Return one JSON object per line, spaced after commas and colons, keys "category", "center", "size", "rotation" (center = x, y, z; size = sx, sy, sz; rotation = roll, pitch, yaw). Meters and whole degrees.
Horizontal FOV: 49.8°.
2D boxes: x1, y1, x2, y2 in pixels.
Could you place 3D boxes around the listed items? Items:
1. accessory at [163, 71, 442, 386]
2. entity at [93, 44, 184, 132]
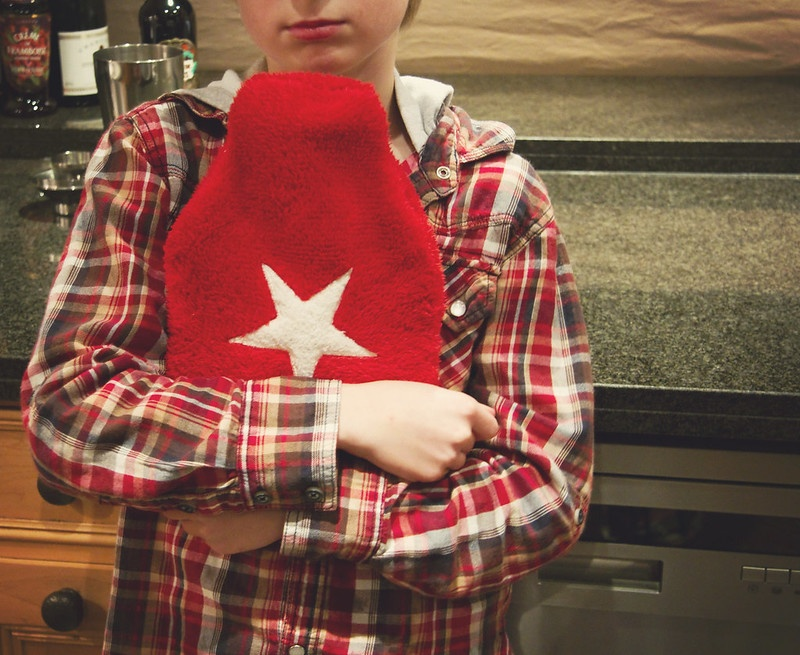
{"category": "accessory", "center": [-0.097, -0.074, 0.770], "size": [0.322, 0.292, 0.093], "rotation": [1, 3, -1]}
{"category": "entity", "center": [-0.416, -0.376, 1.359], "size": [0.141, 0.119, 0.119], "rotation": [11, 35, 5]}
